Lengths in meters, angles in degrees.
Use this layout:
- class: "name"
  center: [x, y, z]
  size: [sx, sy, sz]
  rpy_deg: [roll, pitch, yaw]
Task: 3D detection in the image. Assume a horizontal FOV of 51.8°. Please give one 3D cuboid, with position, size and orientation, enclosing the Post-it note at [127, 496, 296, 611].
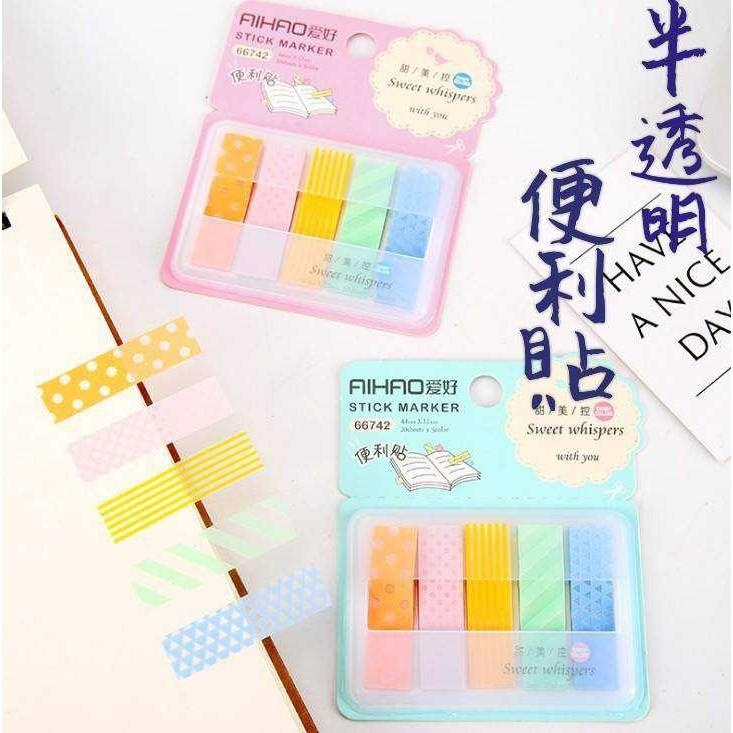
- class: "Post-it note"
  center: [-0.183, 0.220, 0.893]
  size: [0.215, 0.003, 0.074]
  rpy_deg: [-23, 74, -39]

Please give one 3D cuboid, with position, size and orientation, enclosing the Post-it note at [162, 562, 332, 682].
- class: "Post-it note"
  center: [-0.127, 0.279, 0.862]
  size: [0.243, 0.005, 0.081]
  rpy_deg: [-21, 84, -42]

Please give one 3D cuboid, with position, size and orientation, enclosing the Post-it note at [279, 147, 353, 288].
- class: "Post-it note"
  center: [-0.068, -0.208, 1.035]
  size: [0.072, 0.036, 0.209]
  rpy_deg: [13, 80, 1]

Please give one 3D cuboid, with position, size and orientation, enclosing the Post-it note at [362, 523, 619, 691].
- class: "Post-it note"
  center: [0.157, 0.310, 0.942]
  size: [0.309, 0.015, 0.180]
  rpy_deg: [1, 84, 0]
